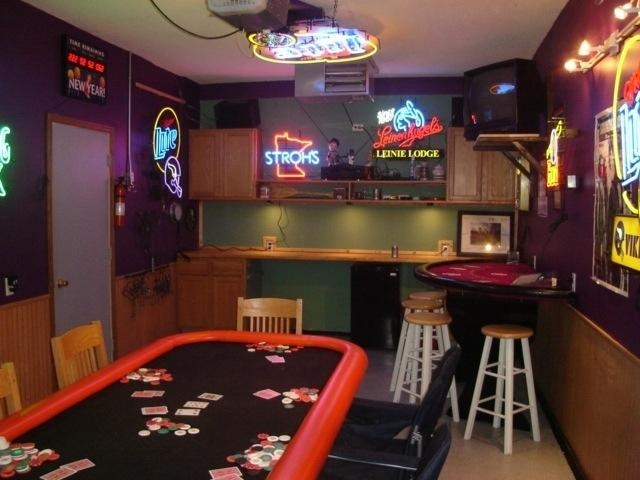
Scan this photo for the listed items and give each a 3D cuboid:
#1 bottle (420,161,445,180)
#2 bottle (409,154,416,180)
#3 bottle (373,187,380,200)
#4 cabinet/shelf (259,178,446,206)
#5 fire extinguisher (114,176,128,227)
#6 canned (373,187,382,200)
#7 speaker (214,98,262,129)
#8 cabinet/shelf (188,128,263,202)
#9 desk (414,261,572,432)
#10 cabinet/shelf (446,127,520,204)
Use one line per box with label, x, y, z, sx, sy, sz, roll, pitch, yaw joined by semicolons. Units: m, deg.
bottle;1.464;-0.904;6.634;0.210;0.256;0.358;0;-2;-2
bottle;1.236;-0.954;6.755;0.082;0.302;0.199;0;4;9
bottle;0.764;-0.614;6.733;0.088;0.154;0.152;-1;3;3
cabinet/shelf;0.401;-0.652;6.825;2.514;0.368;0.450;0;3;12
fire extinguisher;-2.219;-0.436;5.656;0.134;0.525;0.284;-2;4;-15
canned;0.773;-0.622;6.699;0.128;0.225;0.132;2;4;23
speaker;-1.105;-1.698;7.194;0.681;0.396;0.498;3;-10;15
cabinet/shelf;-1.297;-1.037;6.883;0.943;0.919;0.375;0;0;8
desk;1.607;0.992;4.734;1.340;1.056;1.339;-3;6;-26
cabinet/shelf;1.953;-0.891;5.983;0.925;0.909;0.341;1;0;10
